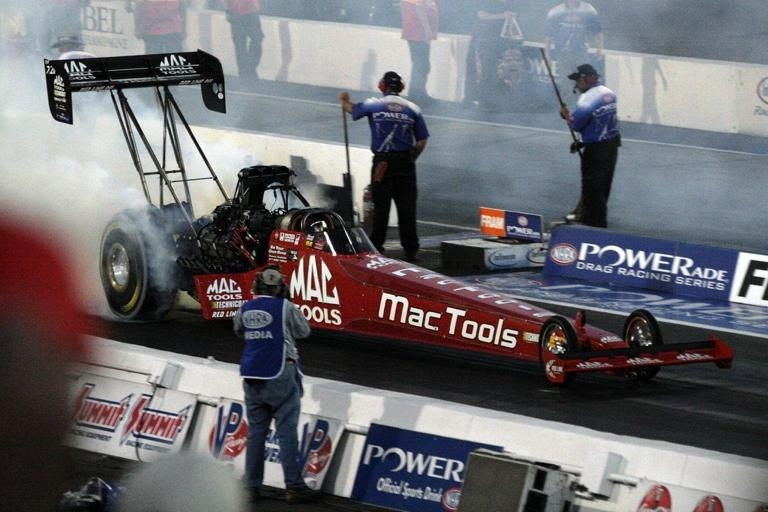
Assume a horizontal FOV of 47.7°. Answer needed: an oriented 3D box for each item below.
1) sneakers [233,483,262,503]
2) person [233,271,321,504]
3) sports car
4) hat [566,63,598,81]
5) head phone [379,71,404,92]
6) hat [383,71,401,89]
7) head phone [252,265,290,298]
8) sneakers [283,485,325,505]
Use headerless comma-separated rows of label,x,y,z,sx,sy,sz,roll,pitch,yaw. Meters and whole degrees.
sneakers,-1.118,1.908,7.098,0.103,0.125,0.273,3,10,-42
person,-0.911,1.032,7.122,0.601,1.730,0.863,-1,15,-11
sports car,-0.674,-0.498,9.979,6.507,2.571,2.587,12,23,32
hat,2.944,-2.785,13.196,0.602,0.313,0.383,-3,9,11
head phone,0.119,-2.532,12.522,0.286,0.338,0.354,3,18,4
hat,0.155,-2.570,12.572,0.277,0.222,0.203,-11,18,-18
head phone,-0.957,0.224,7.323,0.254,0.290,0.106,9,-8,-8
sneakers,-0.652,1.937,7.062,0.313,0.147,0.113,-1,10,-3
